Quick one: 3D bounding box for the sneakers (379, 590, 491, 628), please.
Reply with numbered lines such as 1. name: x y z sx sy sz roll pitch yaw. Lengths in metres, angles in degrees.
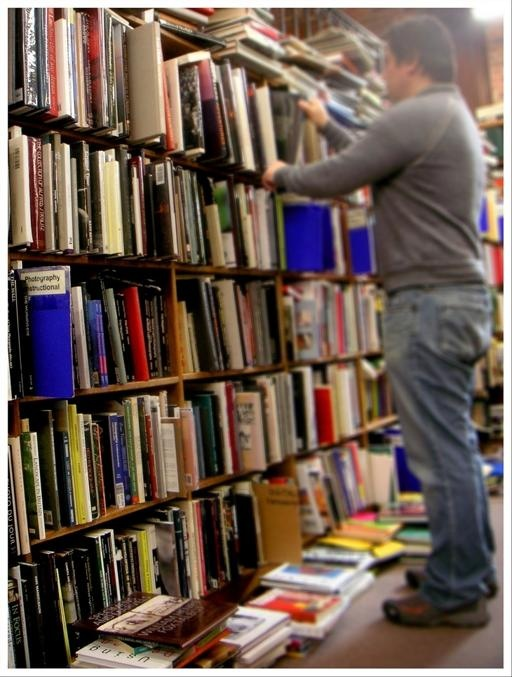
1. sneakers: 0.401 0.596 1.447 0.234 0.095 0.081 0 -5 12
